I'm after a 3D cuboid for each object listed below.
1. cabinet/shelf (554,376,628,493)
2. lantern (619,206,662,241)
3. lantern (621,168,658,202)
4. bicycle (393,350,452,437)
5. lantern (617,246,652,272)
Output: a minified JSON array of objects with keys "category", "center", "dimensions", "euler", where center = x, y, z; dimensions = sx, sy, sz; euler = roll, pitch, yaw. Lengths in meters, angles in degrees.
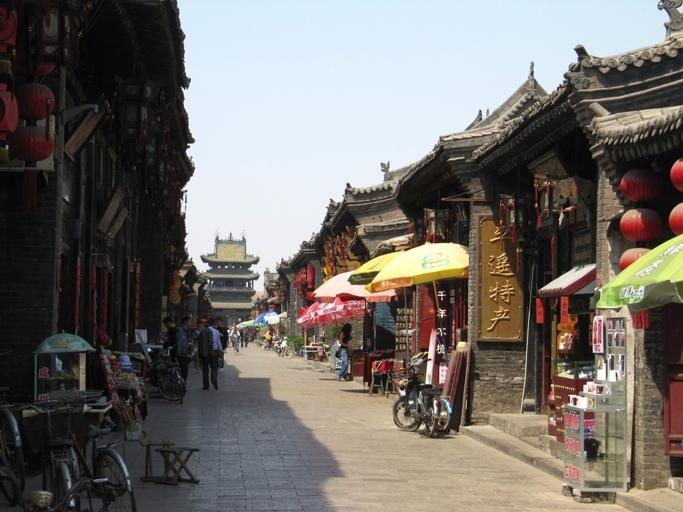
[{"category":"cabinet/shelf","center":[3.403,2.438,12.869],"dimensions":[0.769,2.338,1.247],"euler":[1,-7,-5]},{"category":"lantern","center":[3.962,-0.416,12.670],"dimensions":[0.433,0.505,0.442],"euler":[1,8,26]},{"category":"lantern","center":[3.961,-0.911,12.764],"dimensions":[0.403,0.444,0.414],"euler":[1,-7,-15]},{"category":"bicycle","center":[1.402,2.756,17.908],"dimensions":[0.759,1.170,1.624],"euler":[1,-1,-18]},{"category":"lantern","center":[3.918,0.050,12.804],"dimensions":[0.316,0.313,0.328],"euler":[-1,-7,-7]}]
